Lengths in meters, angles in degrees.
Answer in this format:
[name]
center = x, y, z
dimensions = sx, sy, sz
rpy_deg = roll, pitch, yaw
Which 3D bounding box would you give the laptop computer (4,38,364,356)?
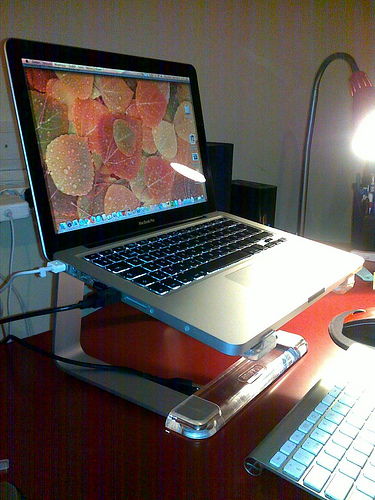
[laptop computer]
center = -0.047, -0.078, 0.679
dimensions = 0.460, 0.417, 0.565
rpy_deg = 14, 23, 33
